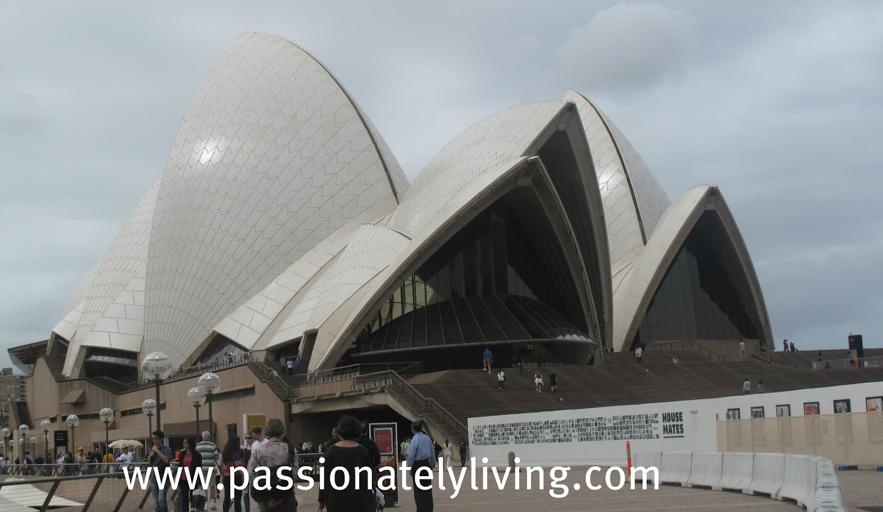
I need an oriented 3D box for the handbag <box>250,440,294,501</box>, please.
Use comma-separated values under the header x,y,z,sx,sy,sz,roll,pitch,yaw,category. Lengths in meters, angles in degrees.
x,y,z,sx,sy,sz,roll,pitch,yaw,category
-4.181,5.109,19.145,1.002,1.382,0.781,2,-33,-1,handbag
